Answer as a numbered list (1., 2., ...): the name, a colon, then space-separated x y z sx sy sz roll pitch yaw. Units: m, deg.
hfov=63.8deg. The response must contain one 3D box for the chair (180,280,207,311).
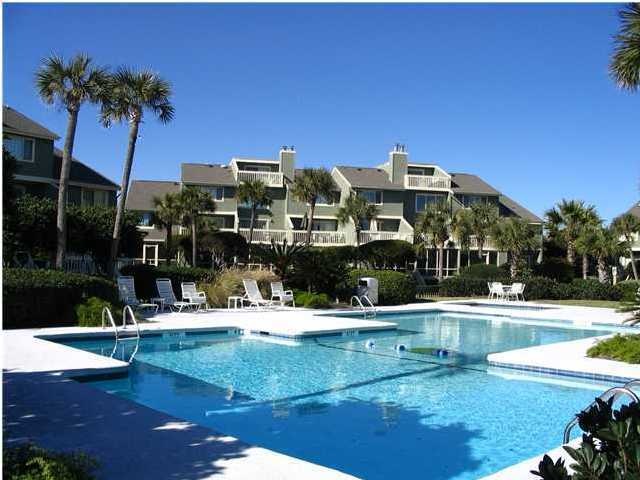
1. chair: -4.947 2.088 19.713 0.923 1.671 1.067 2 -6 -34

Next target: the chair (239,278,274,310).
1. chair: -2.655 2.116 20.941 1.036 1.171 2.303 -1 2 -10

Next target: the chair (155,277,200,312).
1. chair: -5.476 2.041 19.580 0.955 1.602 2.134 1 -3 -40

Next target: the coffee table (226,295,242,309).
1. coffee table: -3.589 2.480 21.168 0.529 0.597 0.564 -4 -6 32

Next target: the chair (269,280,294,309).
1. chair: -1.551 2.198 21.513 0.898 1.479 0.993 1 -3 -35
